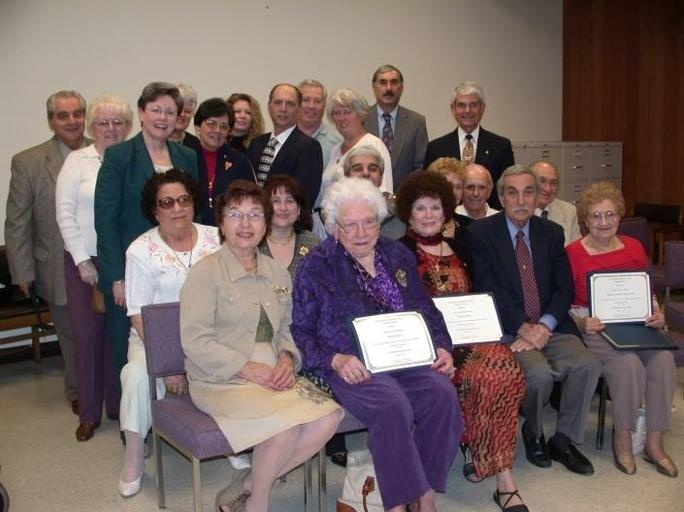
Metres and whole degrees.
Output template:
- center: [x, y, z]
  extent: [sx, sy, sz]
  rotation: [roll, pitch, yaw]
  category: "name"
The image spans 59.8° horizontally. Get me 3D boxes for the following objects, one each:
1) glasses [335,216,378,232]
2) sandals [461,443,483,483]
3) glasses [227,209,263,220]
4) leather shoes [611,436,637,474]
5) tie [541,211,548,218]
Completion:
- center: [0.094, -0.172, 3.368]
  extent: [0.231, 0.068, 0.092]
  rotation: [-5, 10, 2]
  category: "glasses"
- center: [0.815, 1.338, 3.781]
  extent: [0.093, 0.285, 0.065]
  rotation: [-12, -23, 10]
  category: "sandals"
- center: [-0.556, -0.233, 3.380]
  extent: [0.211, 0.073, 0.058]
  rotation: [-7, 10, -12]
  category: "glasses"
- center: [1.810, 1.266, 3.819]
  extent: [0.090, 0.275, 0.085]
  rotation: [-5, -19, 16]
  category: "leather shoes"
- center: [1.733, -0.352, 5.075]
  extent: [0.061, 0.048, 0.017]
  rotation: [23, 5, -7]
  category: "tie"
